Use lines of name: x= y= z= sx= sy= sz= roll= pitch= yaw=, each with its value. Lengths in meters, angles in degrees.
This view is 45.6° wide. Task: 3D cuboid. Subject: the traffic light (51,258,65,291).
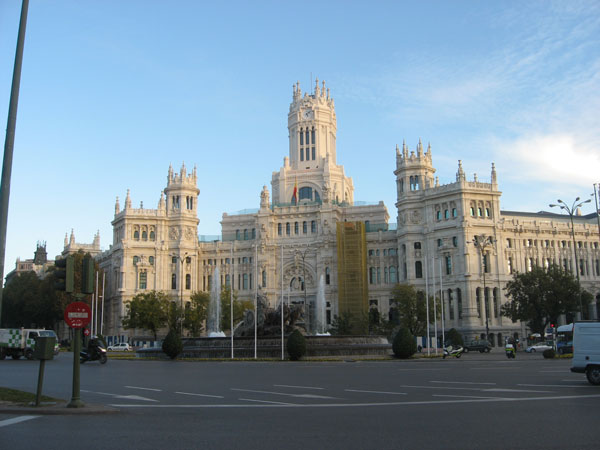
traffic light: x=-7.786 y=1.556 z=23.123 sx=0.320 sy=1.078 sz=0.499 roll=0 pitch=-3 yaw=28

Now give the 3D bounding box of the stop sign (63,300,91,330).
stop sign: x=-7.143 y=2.812 z=22.960 sx=0.752 sy=0.891 sz=0.928 roll=1 pitch=-11 yaw=-7

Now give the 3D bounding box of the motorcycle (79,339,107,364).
motorcycle: x=-13.581 y=8.180 z=46.986 sx=1.524 sy=1.667 sz=2.699 roll=6 pitch=-13 yaw=-28
